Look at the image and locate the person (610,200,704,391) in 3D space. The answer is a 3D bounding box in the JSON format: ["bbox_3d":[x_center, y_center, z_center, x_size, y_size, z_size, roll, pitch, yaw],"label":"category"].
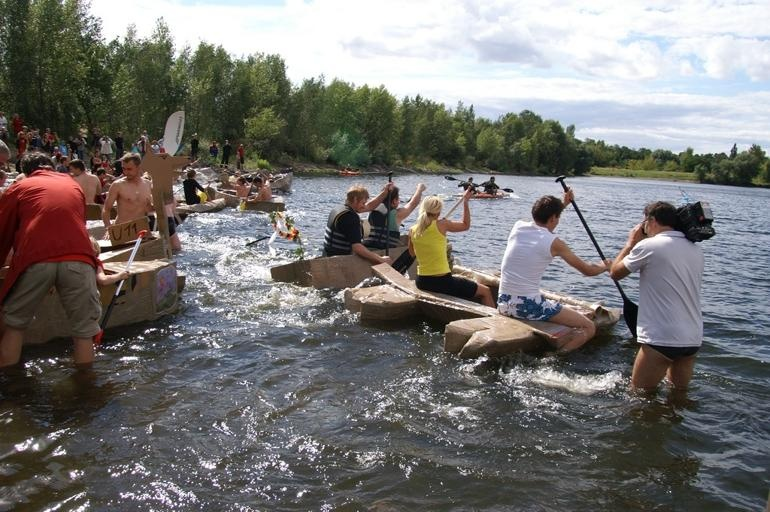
[{"bbox_3d":[3.414,0.522,7.540,1.062,2.376,0.677,10,15,30],"label":"person"}]

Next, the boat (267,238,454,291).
[{"bbox_3d":[-0.725,0.038,11.282,2.566,0.435,1.245,-3,5,-24],"label":"boat"}]

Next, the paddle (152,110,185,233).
[{"bbox_3d":[-4.413,-1.268,12.681,0.666,3.469,0.397,8,22,5],"label":"paddle"}]

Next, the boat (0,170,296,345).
[{"bbox_3d":[-3.886,0.055,10.130,3.816,1.393,5.071,12,20,30],"label":"boat"}]
